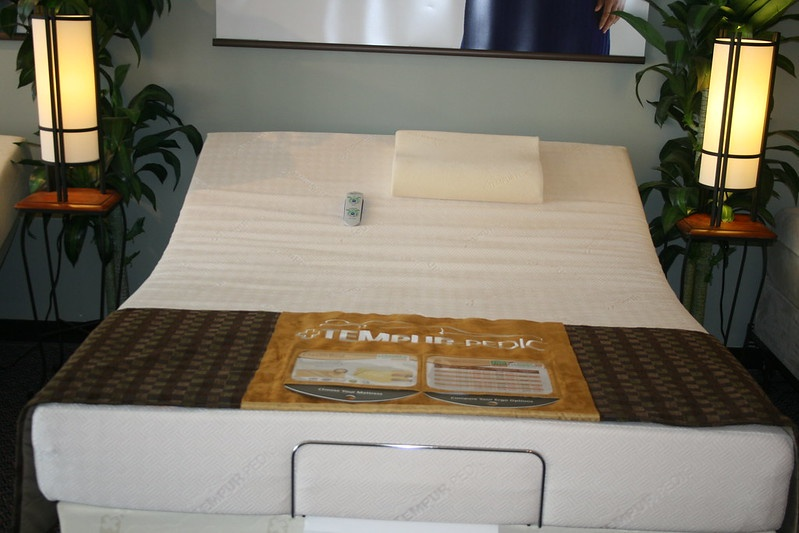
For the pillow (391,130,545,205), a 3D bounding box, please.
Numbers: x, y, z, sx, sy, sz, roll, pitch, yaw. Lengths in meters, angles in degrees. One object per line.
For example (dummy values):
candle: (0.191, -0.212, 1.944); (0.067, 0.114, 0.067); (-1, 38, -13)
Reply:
pillow: (0.316, -0.472, 2.780); (0.600, 0.146, 0.377); (3, 46, -1)
